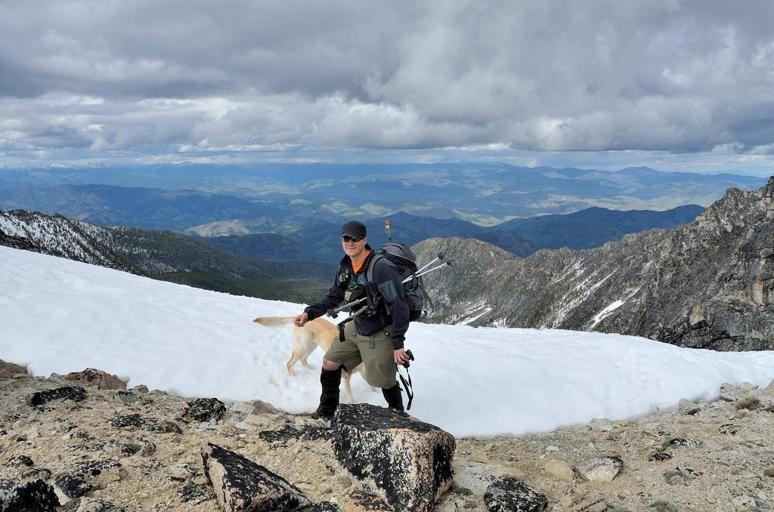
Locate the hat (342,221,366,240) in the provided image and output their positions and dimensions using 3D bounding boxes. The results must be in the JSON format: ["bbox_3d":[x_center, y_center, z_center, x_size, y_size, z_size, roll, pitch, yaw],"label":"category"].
[{"bbox_3d":[-0.817,-0.661,12.961,0.609,0.468,0.533,-1,13,-6],"label":"hat"}]
